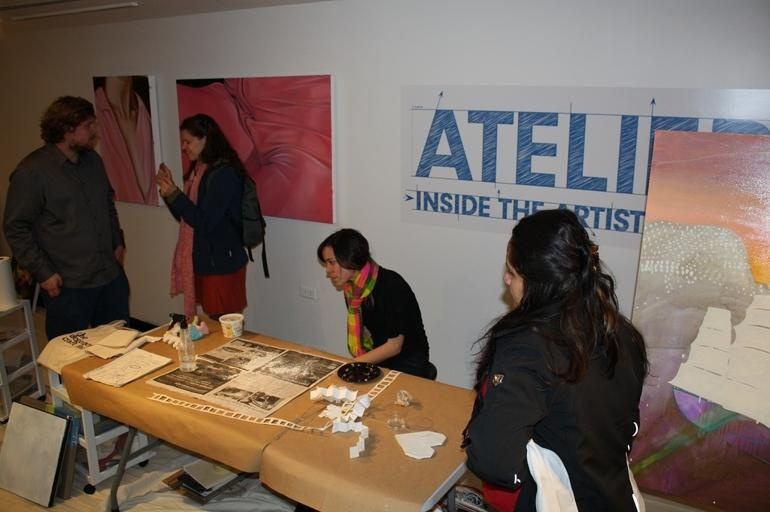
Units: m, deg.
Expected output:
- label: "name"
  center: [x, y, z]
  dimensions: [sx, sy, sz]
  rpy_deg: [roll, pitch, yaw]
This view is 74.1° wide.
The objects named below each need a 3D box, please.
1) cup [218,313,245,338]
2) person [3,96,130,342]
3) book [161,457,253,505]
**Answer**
- label: "cup"
  center: [-1.023, 0.455, 3.453]
  dimensions: [0.147, 0.113, 0.148]
  rpy_deg: [-1, 17, 0]
- label: "person"
  center: [-2.489, -0.129, 4.036]
  dimensions: [0.783, 1.500, 0.357]
  rpy_deg: [-6, 13, -29]
- label: "book"
  center: [-1.225, 1.481, 3.446]
  dimensions: [0.289, 0.078, 0.282]
  rpy_deg: [11, 15, 31]
